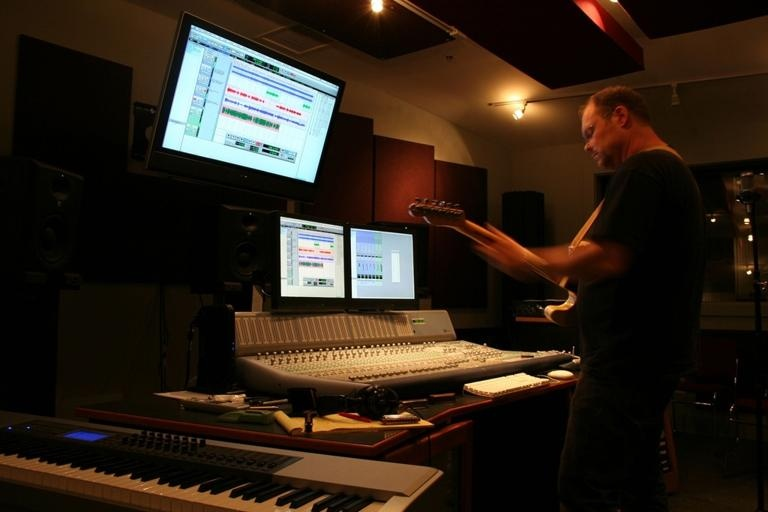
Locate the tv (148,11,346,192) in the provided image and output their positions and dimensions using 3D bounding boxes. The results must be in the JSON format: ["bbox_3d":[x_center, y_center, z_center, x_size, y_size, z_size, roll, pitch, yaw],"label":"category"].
[{"bbox_3d":[-0.864,-0.913,3.586,1.256,0.885,0.348,10,13,-39],"label":"tv"}]

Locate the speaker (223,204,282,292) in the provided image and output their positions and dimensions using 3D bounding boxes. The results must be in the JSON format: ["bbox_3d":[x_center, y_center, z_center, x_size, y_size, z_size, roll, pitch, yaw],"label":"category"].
[{"bbox_3d":[-0.705,-0.038,3.063,0.301,0.383,0.096,4,-6,-17],"label":"speaker"}]

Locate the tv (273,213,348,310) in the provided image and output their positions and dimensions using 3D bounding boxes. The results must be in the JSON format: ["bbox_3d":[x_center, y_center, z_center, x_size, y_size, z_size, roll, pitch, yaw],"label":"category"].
[{"bbox_3d":[-0.412,0.054,3.213,0.493,0.460,0.053,10,-18,-41],"label":"tv"}]

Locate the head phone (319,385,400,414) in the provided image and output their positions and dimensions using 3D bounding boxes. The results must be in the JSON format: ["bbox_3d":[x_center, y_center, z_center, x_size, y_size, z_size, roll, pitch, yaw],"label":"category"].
[{"bbox_3d":[-0.105,0.616,2.511,0.177,0.064,0.178,-5,-8,32],"label":"head phone"}]
